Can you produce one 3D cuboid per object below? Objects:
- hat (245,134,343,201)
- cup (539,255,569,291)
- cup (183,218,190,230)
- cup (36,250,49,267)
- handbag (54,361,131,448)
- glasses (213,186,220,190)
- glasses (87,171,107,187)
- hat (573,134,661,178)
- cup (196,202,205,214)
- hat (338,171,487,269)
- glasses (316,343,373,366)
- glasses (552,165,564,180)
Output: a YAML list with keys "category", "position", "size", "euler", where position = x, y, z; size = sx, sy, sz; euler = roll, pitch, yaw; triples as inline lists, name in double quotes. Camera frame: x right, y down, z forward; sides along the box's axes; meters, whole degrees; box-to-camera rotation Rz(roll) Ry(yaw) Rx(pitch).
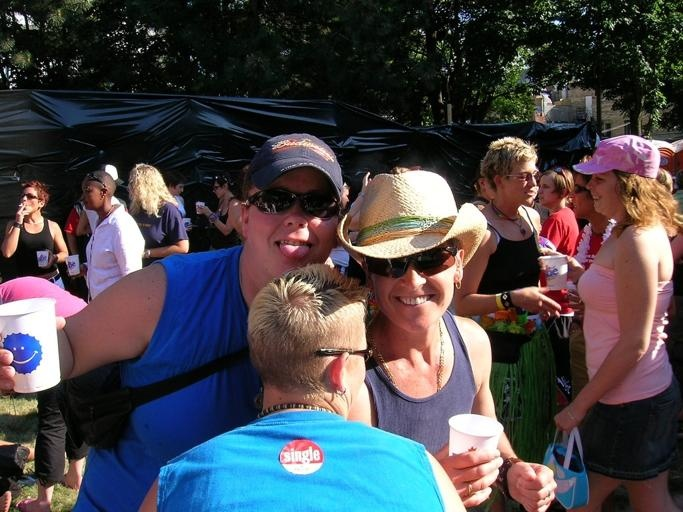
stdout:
- category: "hat"
  position: [-0.245, -0.519, 3.837]
  size: [0.480, 0.372, 0.661]
  euler: [5, 1, -17]
- category: "cup"
  position: [1.643, 0.123, 5.368]
  size: [0.233, 0.281, 0.262]
  euler: [-3, -4, 1]
- category: "cup"
  position: [-2.069, -0.449, 9.354]
  size: [0.122, 0.172, 0.174]
  euler: [-1, -5, -8]
- category: "cup"
  position: [-3.315, 0.030, 7.752]
  size: [0.174, 0.241, 0.135]
  euler: [1, -2, -35]
- category: "handbag"
  position: [-1.361, 0.797, 3.827]
  size: [0.448, 0.386, 0.169]
  euler: [6, 33, -38]
- category: "glasses"
  position: [-1.679, -0.911, 9.334]
  size: [0.073, 0.041, 0.112]
  euler: [2, 13, 4]
- category: "glasses"
  position: [-2.528, -0.793, 7.261]
  size: [0.159, 0.117, 0.203]
  euler: [13, -25, -35]
- category: "hat"
  position: [2.034, -0.701, 5.053]
  size: [0.620, 0.349, 0.471]
  euler: [13, 2, 22]
- category: "cup"
  position: [-1.911, -0.672, 9.463]
  size: [0.105, 0.162, 0.149]
  euler: [5, -11, -5]
- category: "hat"
  position: [0.457, -0.134, 3.856]
  size: [0.610, 0.306, 0.504]
  euler: [7, -32, -44]
- category: "glasses"
  position: [0.024, 0.462, 3.327]
  size: [0.349, 0.071, 0.085]
  euler: [0, 4, -45]
- category: "glasses"
  position: [2.447, -0.946, 7.892]
  size: [0.122, 0.041, 0.125]
  euler: [-14, 57, -46]
